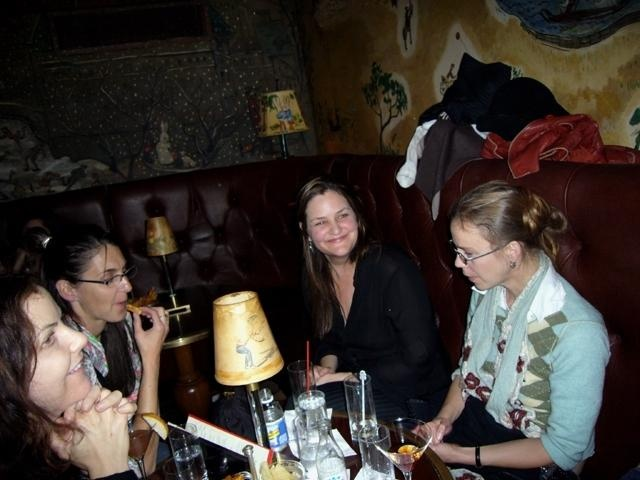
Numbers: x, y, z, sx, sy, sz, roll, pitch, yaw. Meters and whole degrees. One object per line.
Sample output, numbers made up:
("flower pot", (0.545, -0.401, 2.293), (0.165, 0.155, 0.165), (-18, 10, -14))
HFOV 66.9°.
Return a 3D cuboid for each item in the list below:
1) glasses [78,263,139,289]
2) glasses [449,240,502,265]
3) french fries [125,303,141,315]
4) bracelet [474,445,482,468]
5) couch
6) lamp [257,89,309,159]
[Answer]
("glasses", (-0.895, 0.152, 2.048), (0.140, 0.045, 0.143), (1, 11, 6))
("glasses", (0.565, 0.051, 1.763), (0.096, 0.031, 0.098), (-22, 14, -2))
("french fries", (-0.837, 0.315, 2.207), (0.052, 0.017, 0.059), (15, 11, -7))
("bracelet", (0.554, 0.767, 1.713), (0.024, 0.063, 0.020), (-5, 6, 9))
("couch", (0.007, 0.318, 1.984), (1.372, 0.500, 1.057), (-7, 5, 40))
("lamp", (-0.285, -0.867, 3.594), (0.409, 0.493, 0.454), (5, 25, 22))
